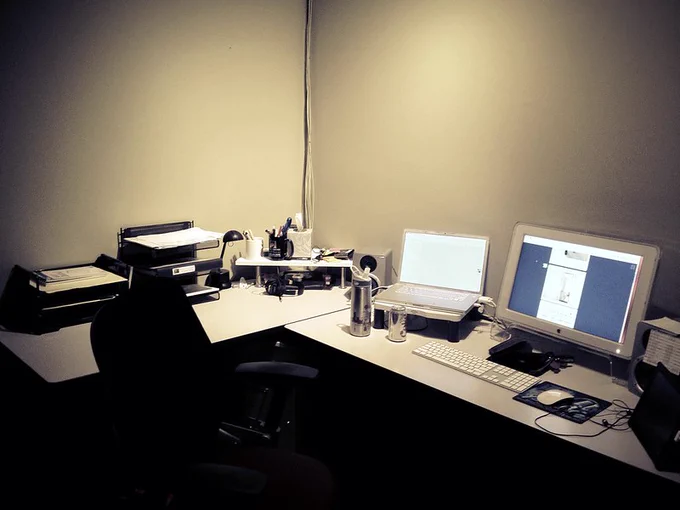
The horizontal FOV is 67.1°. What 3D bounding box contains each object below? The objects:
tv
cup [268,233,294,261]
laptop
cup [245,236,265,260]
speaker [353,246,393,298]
[{"bbox_3d":[1.082,0.166,2.273,0.513,0.445,0.174,16,19,38],"label":"tv"},{"bbox_3d":[-0.354,-0.045,3.066,0.148,0.154,0.107,4,9,19],"label":"cup"},{"bbox_3d":[0.500,0.109,2.610,0.504,0.325,0.484,10,25,27],"label":"laptop"},{"bbox_3d":[-0.528,-0.056,3.135,0.106,0.127,0.136,-3,16,-11],"label":"cup"},{"bbox_3d":[0.218,0.093,2.992,0.264,0.200,0.214,-8,14,19],"label":"speaker"}]
